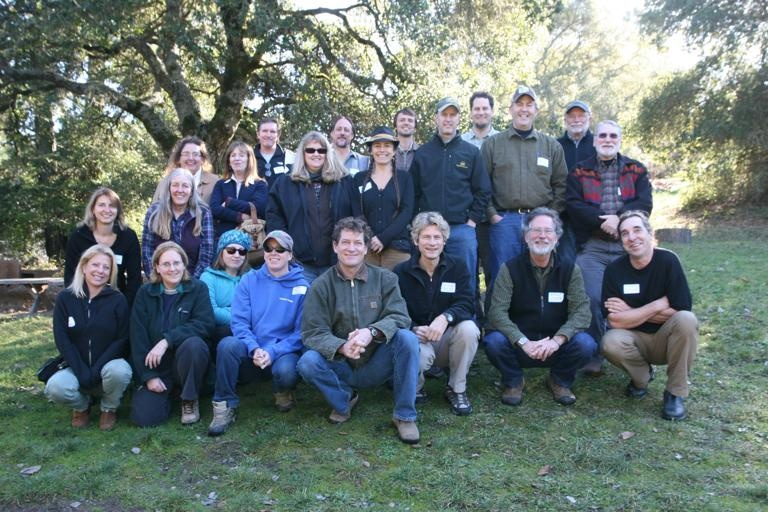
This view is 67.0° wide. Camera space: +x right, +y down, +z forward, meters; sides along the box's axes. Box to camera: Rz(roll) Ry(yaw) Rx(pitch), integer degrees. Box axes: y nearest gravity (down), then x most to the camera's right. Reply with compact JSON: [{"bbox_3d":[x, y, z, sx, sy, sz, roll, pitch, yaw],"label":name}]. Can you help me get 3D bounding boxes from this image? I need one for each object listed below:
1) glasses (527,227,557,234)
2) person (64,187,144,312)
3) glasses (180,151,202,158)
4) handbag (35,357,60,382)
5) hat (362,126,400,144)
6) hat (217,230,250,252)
[{"bbox_3d":[2.059,-0.322,7.604,0.343,0.123,0.123,-1,2,13],"label":"glasses"},{"bbox_3d":[-3.839,0.275,8.016,0.987,2.170,0.727,0,1,-27],"label":"person"},{"bbox_3d":[-3.013,-1.579,9.126,0.156,0.070,0.203,0,0,-9],"label":"glasses"},{"bbox_3d":[-4.189,1.441,7.303,0.276,0.304,0.165,-2,2,-29],"label":"handbag"},{"bbox_3d":[-0.035,-1.721,8.275,0.425,0.277,0.270,-1,2,3],"label":"hat"},{"bbox_3d":[-2.059,-0.223,7.949,0.317,0.242,0.383,-2,-17,-20],"label":"hat"}]
